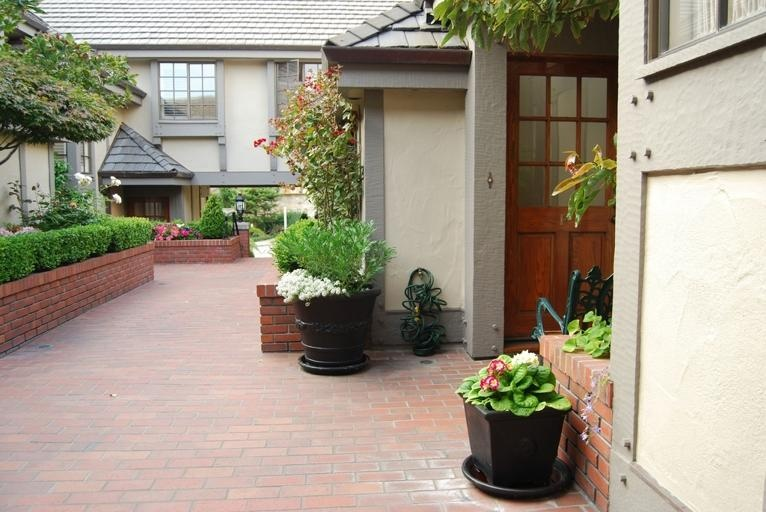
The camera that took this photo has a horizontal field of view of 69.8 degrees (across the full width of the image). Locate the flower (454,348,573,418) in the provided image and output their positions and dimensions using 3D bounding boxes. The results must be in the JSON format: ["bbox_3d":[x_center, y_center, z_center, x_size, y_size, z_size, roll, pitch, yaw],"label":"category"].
[{"bbox_3d":[0.899,0.848,3.625,0.474,0.196,0.479,13,21,43],"label":"flower"}]

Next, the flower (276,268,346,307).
[{"bbox_3d":[-0.779,0.332,5.663,0.455,0.283,0.790,-10,14,-43],"label":"flower"}]

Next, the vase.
[{"bbox_3d":[0.882,1.259,3.808,0.588,0.503,0.712,0,-5,-6],"label":"vase"}]

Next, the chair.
[{"bbox_3d":[1.576,0.411,4.423,0.746,0.723,0.751,5,10,25],"label":"chair"}]
